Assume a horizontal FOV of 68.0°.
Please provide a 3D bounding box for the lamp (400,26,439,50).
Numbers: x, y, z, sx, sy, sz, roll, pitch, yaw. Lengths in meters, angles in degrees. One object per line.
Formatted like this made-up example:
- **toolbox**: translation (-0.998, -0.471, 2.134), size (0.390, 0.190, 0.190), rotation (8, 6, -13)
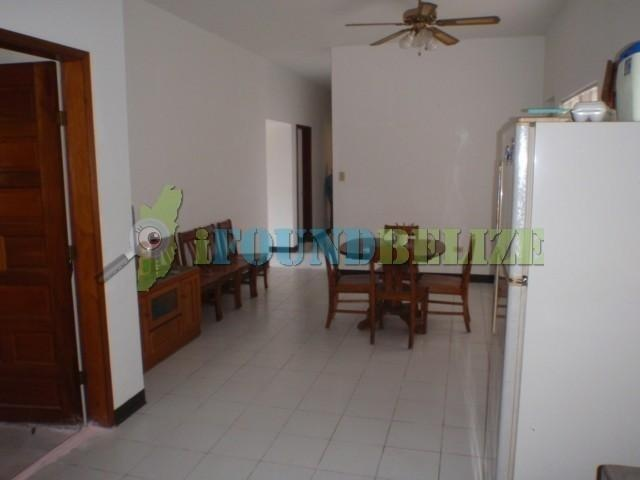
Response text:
- **lamp**: translation (0.865, -1.789, 4.211), size (0.216, 0.184, 0.360), rotation (-6, 12, -25)

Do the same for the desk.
- **desk**: translation (0.755, 0.413, 5.014), size (0.962, 1.069, 1.039), rotation (-14, -17, 24)

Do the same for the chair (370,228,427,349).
- **chair**: translation (0.844, 0.437, 4.895), size (0.620, 1.148, 0.657), rotation (3, 2, 5)

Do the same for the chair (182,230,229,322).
- **chair**: translation (-1.299, 0.397, 5.281), size (0.291, 0.648, 0.865), rotation (1, 12, 4)

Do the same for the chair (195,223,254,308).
- **chair**: translation (-1.192, 0.328, 5.779), size (0.293, 0.640, 0.888), rotation (1, 14, 6)

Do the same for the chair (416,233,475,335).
- **chair**: translation (1.330, 0.441, 4.985), size (0.489, 0.863, 0.473), rotation (2, 10, 17)

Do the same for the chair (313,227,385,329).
- **chair**: translation (0.340, 0.425, 5.551), size (0.888, 1.445, 0.849), rotation (-1, 16, 7)

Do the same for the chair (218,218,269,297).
- **chair**: translation (-0.990, 0.175, 6.583), size (0.569, 0.903, 0.627), rotation (-2, 12, 4)
